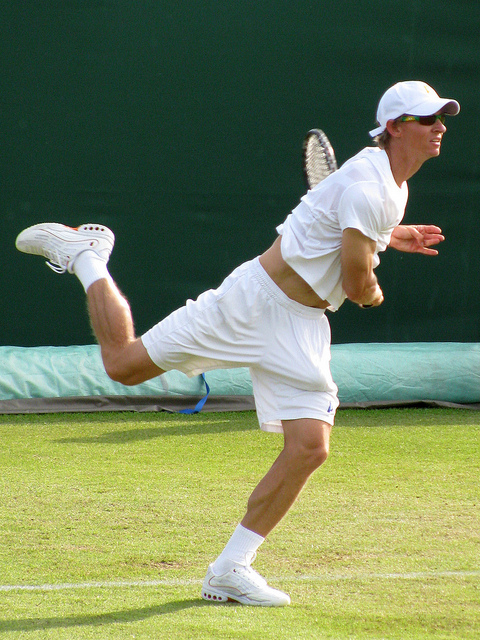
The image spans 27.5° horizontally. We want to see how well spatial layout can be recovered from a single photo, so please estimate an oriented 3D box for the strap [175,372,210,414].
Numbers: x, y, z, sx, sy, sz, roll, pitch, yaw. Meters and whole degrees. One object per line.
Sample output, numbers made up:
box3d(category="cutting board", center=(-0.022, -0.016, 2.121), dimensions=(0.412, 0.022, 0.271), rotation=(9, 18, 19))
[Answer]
box3d(category="strap", center=(-0.299, 0.477, 6.280), dimensions=(0.122, 0.230, 0.236), rotation=(6, 9, 35))
